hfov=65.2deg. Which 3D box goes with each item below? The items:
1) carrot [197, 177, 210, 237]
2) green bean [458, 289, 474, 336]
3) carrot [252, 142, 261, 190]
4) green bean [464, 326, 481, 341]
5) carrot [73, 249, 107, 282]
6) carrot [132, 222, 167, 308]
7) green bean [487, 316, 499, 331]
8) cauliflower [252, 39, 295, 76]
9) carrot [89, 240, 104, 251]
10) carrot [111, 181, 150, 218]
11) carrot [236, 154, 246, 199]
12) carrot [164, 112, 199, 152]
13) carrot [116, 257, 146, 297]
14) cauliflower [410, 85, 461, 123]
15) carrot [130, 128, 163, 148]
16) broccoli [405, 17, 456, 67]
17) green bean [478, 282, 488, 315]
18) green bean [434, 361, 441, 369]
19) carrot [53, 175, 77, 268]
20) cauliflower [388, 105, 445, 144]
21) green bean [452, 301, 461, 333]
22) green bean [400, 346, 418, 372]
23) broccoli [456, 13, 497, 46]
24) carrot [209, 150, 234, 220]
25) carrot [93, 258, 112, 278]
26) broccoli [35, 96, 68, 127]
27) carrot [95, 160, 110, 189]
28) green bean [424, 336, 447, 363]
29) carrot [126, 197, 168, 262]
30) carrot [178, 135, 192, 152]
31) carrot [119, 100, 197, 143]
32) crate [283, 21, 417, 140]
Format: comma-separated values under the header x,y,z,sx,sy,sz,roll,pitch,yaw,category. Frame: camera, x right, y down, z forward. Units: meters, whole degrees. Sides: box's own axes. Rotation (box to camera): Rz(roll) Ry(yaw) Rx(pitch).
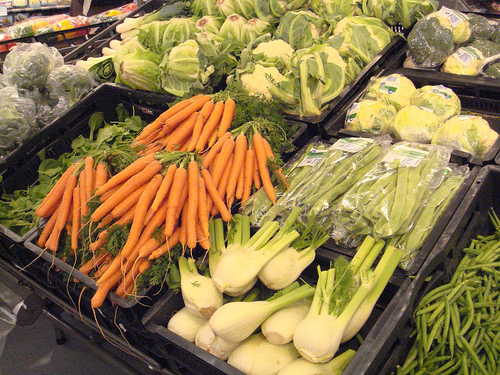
x,y,z,sx,sy,sz,roll,pitch,yaw,category
-0.326,0.127,2.577,0.064,0.066,0.392,-21,63,19,carrot
1.155,0.674,2.115,0.064,0.070,0.261,2,60,6,green bean
0.042,-0.133,2.778,0.040,0.281,0.045,-3,3,11,carrot
1.152,0.762,2.029,0.075,0.018,0.015,-47,54,-8,green bean
-1.041,0.517,2.553,0.276,0.077,0.060,-42,21,0,carrot
-0.619,0.413,2.365,0.112,0.065,0.377,34,64,-12,carrot
1.276,0.721,2.048,0.092,0.044,0.022,-19,45,-34,green bean
0.223,-1.201,3.701,0.338,0.118,0.346,-3,58,1,cauliflower
-1.009,0.388,2.543,0.075,0.065,0.056,-14,42,-30,carrot
-0.791,0.091,2.574,0.051,0.064,0.263,42,78,0,carrot
-0.056,-0.059,2.726,0.039,0.041,0.281,16,72,-19,carrot
-0.511,-0.417,2.952,0.355,0.072,0.070,-50,51,-4,carrot
-0.730,0.549,2.404,0.277,0.039,0.053,-53,36,-9,carrot
1.451,-0.671,3.023,0.274,0.186,0.329,5,25,19,cauliflower
-0.833,-0.396,3.160,0.330,0.050,0.055,-38,35,-13,carrot
1.551,-1.211,3.395,0.338,0.266,0.458,0,83,22,broccoli
1.251,0.618,2.122,0.022,0.021,0.141,-10,69,5,green bean
0.966,0.921,2.028,0.012,0.011,0.049,37,83,-10,green bean
-1.341,0.212,2.785,0.110,0.112,0.656,7,84,31,carrot
1.227,-0.463,2.890,0.338,0.244,0.358,-2,54,26,cauliflower
1.088,0.686,2.072,0.028,0.020,0.141,5,60,-16,green bean
0.827,0.903,2.043,0.030,0.023,0.150,26,72,38,green bean
2.116,-1.423,3.702,0.317,0.189,0.253,-29,59,-10,broccoli
-0.150,-0.070,2.782,0.076,0.081,0.617,22,72,-7,carrot
-0.942,0.507,2.505,0.040,0.031,0.154,27,69,13,carrot
-2.026,-0.760,3.987,0.240,0.118,0.345,29,55,20,broccoli
-1.071,-0.102,2.862,0.064,0.069,0.228,9,56,6,carrot
0.958,0.845,2.027,0.156,0.017,0.023,-53,34,-2,green bean
-0.647,0.282,2.476,0.064,0.066,0.458,-9,45,49,carrot
-0.493,-0.323,2.932,0.035,0.045,0.164,35,57,3,carrot
-0.782,-0.557,3.329,0.782,0.107,0.093,-38,78,11,carrot
0.477,-1.122,3.882,0.717,0.518,1.721,8,32,-10,crate
